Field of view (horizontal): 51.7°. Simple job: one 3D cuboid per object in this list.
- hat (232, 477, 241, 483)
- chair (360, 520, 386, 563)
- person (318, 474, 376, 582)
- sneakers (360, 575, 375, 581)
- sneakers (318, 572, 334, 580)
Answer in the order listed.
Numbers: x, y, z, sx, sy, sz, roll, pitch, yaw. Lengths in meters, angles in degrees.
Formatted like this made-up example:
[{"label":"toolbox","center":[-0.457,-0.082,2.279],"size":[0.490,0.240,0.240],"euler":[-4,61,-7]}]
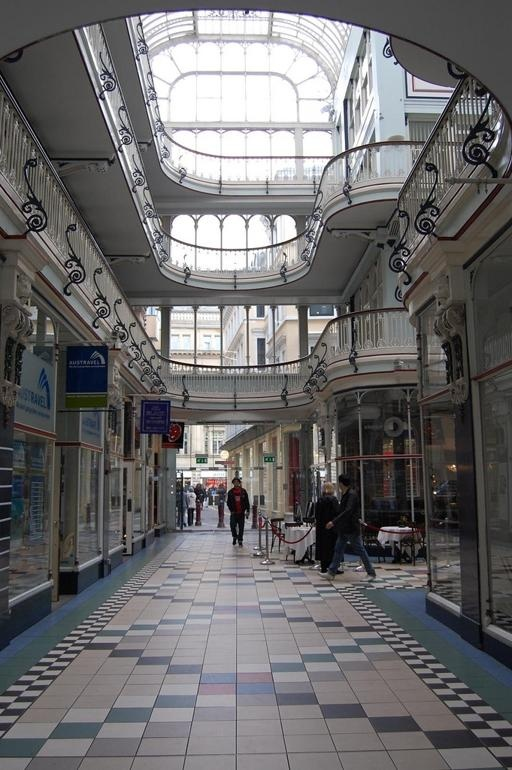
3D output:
[{"label":"hat","center":[-0.565,2.728,15.199],"size":[0.179,0.241,0.232],"euler":[0,-5,-3]},{"label":"chair","center":[2.573,3.436,11.656],"size":[0.694,0.955,0.798],"euler":[-1,-19,0]},{"label":"person","center":[1.569,2.411,8.966],"size":[0.812,1.701,1.033],"euler":[-3,-13,10]},{"label":"sneakers","center":[1.897,3.252,8.957],"size":[0.232,0.117,0.086],"euler":[-3,-8,9]},{"label":"sneakers","center":[1.227,3.341,9.276],"size":[0.250,0.122,0.096],"euler":[10,-2,22]}]
